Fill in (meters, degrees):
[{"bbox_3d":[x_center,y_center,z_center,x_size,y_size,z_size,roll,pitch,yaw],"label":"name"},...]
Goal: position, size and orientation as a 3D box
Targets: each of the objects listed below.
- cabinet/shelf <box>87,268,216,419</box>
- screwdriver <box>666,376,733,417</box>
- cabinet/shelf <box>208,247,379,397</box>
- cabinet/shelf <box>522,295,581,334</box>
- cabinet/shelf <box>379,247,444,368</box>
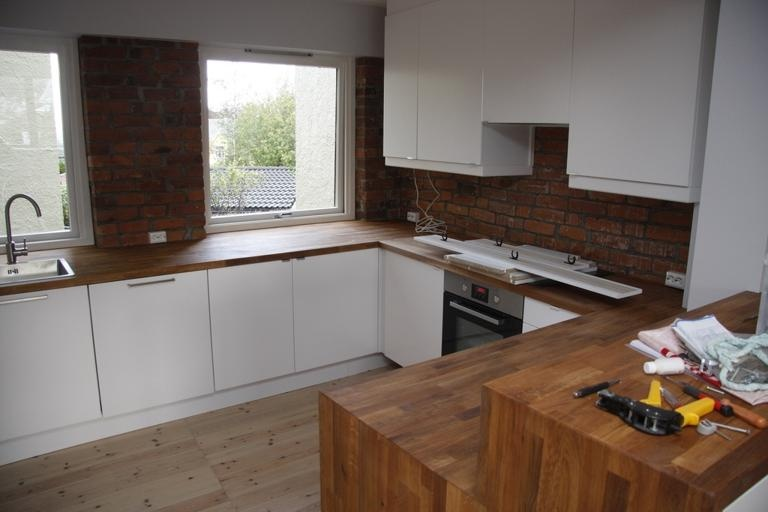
[{"bbox_3d":[-1.406,0.508,3.886,1.025,1.165,0.899,-5,9,-34],"label":"cabinet/shelf"},{"bbox_3d":[0.954,0.424,1.566,0.048,0.030,0.174,-9,16,-22],"label":"screwdriver"},{"bbox_3d":[-0.857,0.424,4.018,1.623,0.877,0.683,-6,16,-35],"label":"cabinet/shelf"},{"bbox_3d":[0.982,0.321,3.016,0.251,0.149,0.240,-8,15,-33],"label":"cabinet/shelf"},{"bbox_3d":[0.207,0.391,3.854,0.478,0.800,0.576,-8,18,-33],"label":"cabinet/shelf"}]
